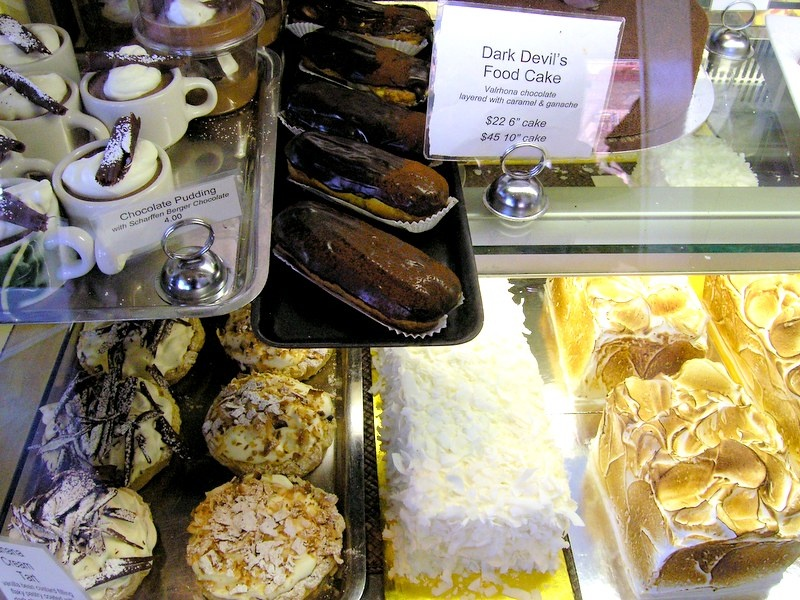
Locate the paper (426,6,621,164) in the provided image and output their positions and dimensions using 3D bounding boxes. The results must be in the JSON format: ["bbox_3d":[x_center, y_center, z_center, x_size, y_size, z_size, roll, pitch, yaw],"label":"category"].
[{"bbox_3d":[0.237,-0.420,1.239,0.371,0.297,0.053,2,42,-2],"label":"paper"}]

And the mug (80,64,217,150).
[{"bbox_3d":[-0.590,-0.465,1.539,0.289,0.158,0.217,-12,44,-12],"label":"mug"}]

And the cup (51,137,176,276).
[{"bbox_3d":[-0.573,-0.196,1.341,0.199,0.153,0.278,4,58,-5],"label":"cup"}]
